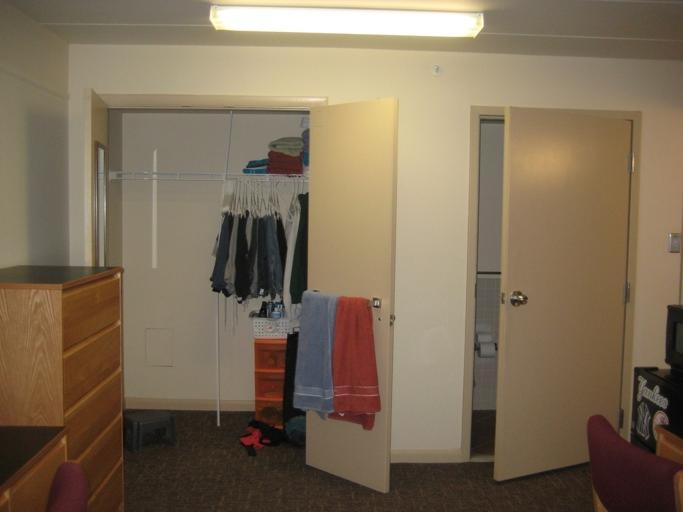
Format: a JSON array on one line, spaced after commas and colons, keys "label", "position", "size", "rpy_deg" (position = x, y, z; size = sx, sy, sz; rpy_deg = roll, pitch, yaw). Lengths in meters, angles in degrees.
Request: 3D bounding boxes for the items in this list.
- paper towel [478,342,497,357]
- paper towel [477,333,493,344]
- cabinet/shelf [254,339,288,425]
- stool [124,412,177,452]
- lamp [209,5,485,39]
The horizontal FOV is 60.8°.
[{"label": "paper towel", "position": [1.216, 0.772, 4.824], "size": [0.136, 0.138, 0.107], "rpy_deg": [1, 6, 1]}, {"label": "paper towel", "position": [1.206, 0.687, 4.863], "size": [0.117, 0.074, 0.084], "rpy_deg": [-3, -12, 8]}, {"label": "cabinet/shelf", "position": [-0.544, 0.996, 4.627], "size": [0.285, 0.674, 0.187], "rpy_deg": [-5, -6, 10]}, {"label": "stool", "position": [-1.477, 1.305, 4.440], "size": [0.274, 0.199, 0.284], "rpy_deg": [-3, 8, -30]}, {"label": "lamp", "position": [0.040, -1.522, 3.779], "size": [1.746, 0.156, 0.274], "rpy_deg": [0, 15, -1]}]
